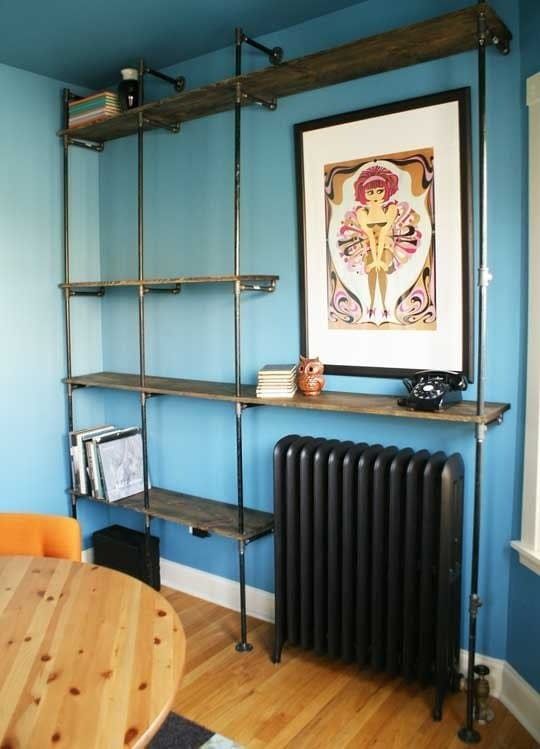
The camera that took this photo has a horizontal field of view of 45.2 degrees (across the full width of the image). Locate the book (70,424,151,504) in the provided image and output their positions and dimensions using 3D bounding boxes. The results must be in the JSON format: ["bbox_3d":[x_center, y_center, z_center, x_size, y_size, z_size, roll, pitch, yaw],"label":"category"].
[{"bbox_3d":[-0.759,0.383,3.230,0.356,0.491,0.362,0,5,35],"label":"book"}]

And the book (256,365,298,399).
[{"bbox_3d":[0.026,0.036,2.478,0.114,0.080,0.164,0,8,7],"label":"book"}]

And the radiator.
[{"bbox_3d":[0.367,0.721,2.264,0.928,1.068,0.317,2,3,33],"label":"radiator"}]

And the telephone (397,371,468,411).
[{"bbox_3d":[0.511,0.016,2.096,0.168,0.079,0.142,2,12,43],"label":"telephone"}]
